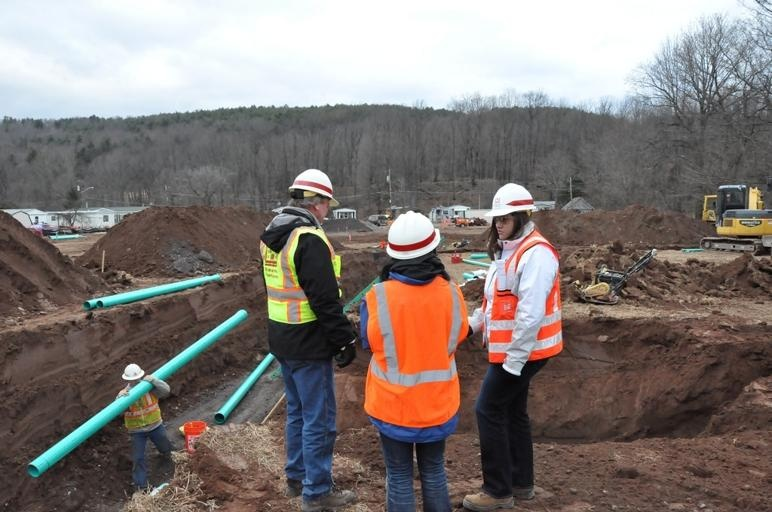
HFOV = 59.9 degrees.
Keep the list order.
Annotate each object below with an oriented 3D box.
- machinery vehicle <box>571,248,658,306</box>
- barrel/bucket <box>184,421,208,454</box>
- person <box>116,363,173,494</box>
[{"bbox_3d":[5.270,0.452,15.216,1.778,1.170,0.962,0,11,35],"label":"machinery vehicle"},{"bbox_3d":[-3.425,3.218,11.981,0.523,0.515,0.519,0,-2,0],"label":"barrel/bucket"},{"bbox_3d":[-4.364,3.134,12.244,0.835,2.133,1.098,-3,13,-2],"label":"person"}]
